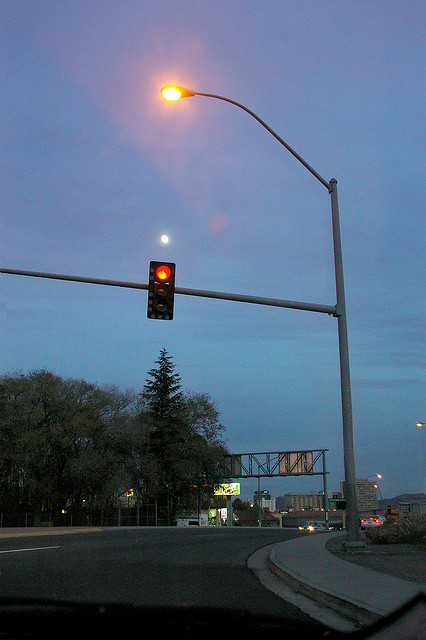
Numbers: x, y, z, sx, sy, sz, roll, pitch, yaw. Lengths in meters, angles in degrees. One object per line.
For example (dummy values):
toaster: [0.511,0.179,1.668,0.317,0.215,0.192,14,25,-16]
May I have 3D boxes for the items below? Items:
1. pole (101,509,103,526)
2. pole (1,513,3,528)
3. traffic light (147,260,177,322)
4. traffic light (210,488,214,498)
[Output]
pole: [-8.242,14.670,48.575,0.177,1.061,0.498,5,-14,-5]
pole: [-12.991,12.334,40.234,0.101,0.677,0.371,9,-15,-22]
traffic light: [-1.141,-0.665,14.336,0.576,1.363,0.464,5,-14,-7]
traffic light: [-0.094,14.288,54.493,0.345,0.435,1.015,4,-14,0]
